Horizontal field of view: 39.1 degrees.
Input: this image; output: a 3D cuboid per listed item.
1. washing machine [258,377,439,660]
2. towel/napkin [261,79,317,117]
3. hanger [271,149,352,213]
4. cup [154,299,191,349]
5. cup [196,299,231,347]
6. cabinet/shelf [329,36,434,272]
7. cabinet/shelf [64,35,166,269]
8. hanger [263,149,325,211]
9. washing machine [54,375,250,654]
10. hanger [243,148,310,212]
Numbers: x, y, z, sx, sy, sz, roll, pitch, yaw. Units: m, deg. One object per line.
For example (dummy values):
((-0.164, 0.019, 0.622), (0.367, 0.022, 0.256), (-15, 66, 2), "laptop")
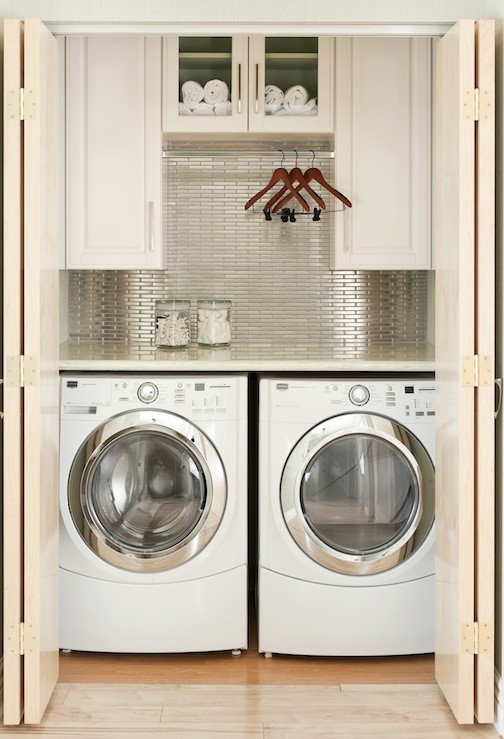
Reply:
((0.322, 0.476, 2.556), (0.698, 1.197, 0.799), (0, -2, 0), "washing machine")
((0.149, -0.978, 2.569), (0.155, 0.108, 0.049), (-24, 13, 9), "towel/napkin")
((0.185, -0.702, 2.735), (0.225, 0.123, 0.237), (0, 5, 15), "hanger")
((-0.304, -0.169, 2.659), (0.144, 0.175, 0.138), (0, 5, 0), "cup")
((-0.137, -0.170, 2.616), (0.111, 0.169, 0.067), (0, 4, -9), "cup")
((0.480, -0.809, 2.627), (0.324, 0.906, 0.098), (0, -3, 5), "cabinet/shelf")
((-0.492, -0.759, 2.583), (0.324, 0.836, 0.097), (0, -5, -3), "cabinet/shelf")
((0.147, -0.693, 2.739), (0.271, 0.168, 0.111), (8, 2, 25), "hanger")
((-0.319, 0.479, 2.633), (0.783, 1.225, 0.788), (0, -4, -1), "washing machine")
((0.100, -0.761, 2.815), (0.245, 0.206, 0.005), (3, 12, 7), "hanger")
